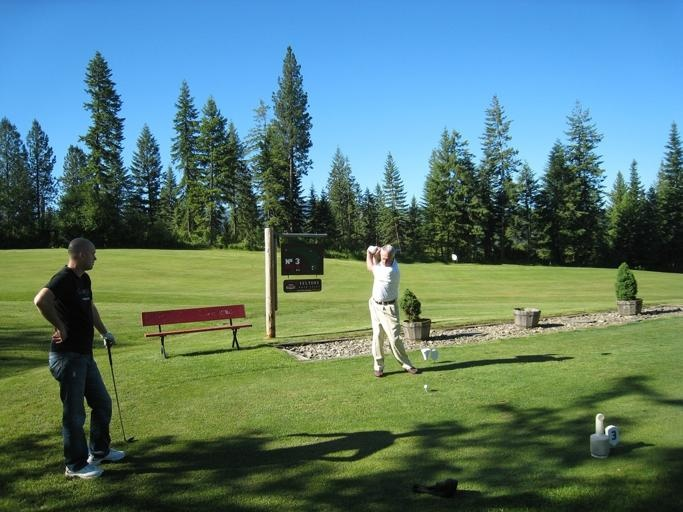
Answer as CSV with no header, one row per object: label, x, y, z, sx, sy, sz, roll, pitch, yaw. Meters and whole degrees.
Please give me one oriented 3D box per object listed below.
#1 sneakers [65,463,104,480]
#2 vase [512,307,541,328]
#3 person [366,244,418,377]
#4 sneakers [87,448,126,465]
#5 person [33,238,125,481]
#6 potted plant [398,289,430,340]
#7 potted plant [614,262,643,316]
sneakers,-3.527,2.925,8.678,0.435,0.222,0.205,1,-4,-1
vase,5.003,1.668,17.116,0.555,0.360,0.558,5,-6,-23
person,0.954,0.996,12.652,0.771,2.565,1.280,-2,7,2
sneakers,-3.323,2.806,8.985,0.469,0.246,0.182,-2,4,-25
person,-3.626,1.364,8.846,0.742,3.194,0.939,-1,7,9
potted plant,1.851,1.436,15.954,0.691,1.259,0.679,-7,2,0
potted plant,9.087,0.833,19.908,0.718,1.628,3.185,1,9,24
